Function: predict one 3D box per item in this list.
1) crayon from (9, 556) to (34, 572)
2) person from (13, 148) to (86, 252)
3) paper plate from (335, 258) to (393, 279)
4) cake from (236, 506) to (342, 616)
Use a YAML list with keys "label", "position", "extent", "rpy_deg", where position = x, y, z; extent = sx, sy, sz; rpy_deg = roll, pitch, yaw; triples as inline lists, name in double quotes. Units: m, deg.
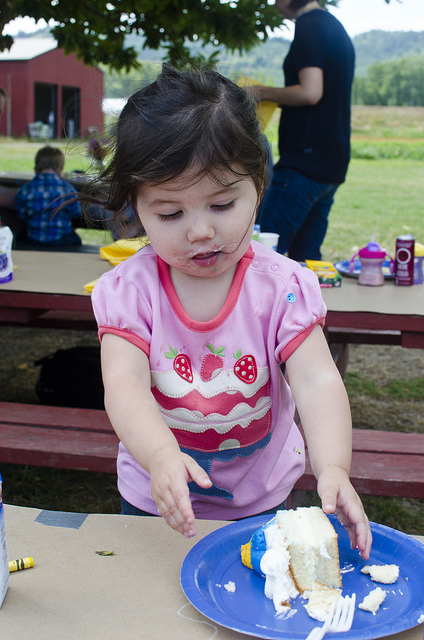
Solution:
- label: "crayon"
  position: [-0.248, 0.318, 0.785]
  extent: [0.041, 0.012, 0.011]
  rpy_deg: [-4, 2, -22]
- label: "person"
  position: [-1.353, -1.010, 4.897]
  extent: [0.501, 0.798, 1.540]
  rpy_deg: [-4, 13, -18]
- label: "paper plate"
  position: [0.651, -0.230, 2.651]
  extent: [0.138, 0.017, 0.136]
  rpy_deg: [14, 28, 31]
- label: "cake"
  position: [0.111, 0.309, 0.785]
  extent: [0.133, 0.068, 0.142]
  rpy_deg: [-4, 13, -16]
